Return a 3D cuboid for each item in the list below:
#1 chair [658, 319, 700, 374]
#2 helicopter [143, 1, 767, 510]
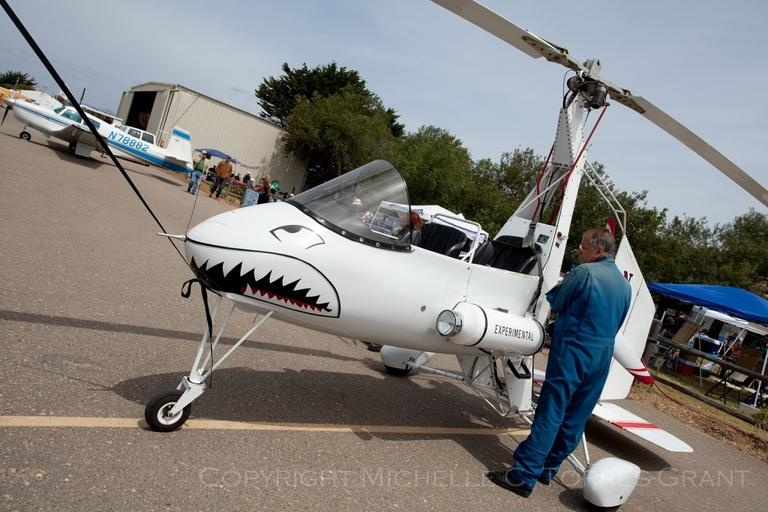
[{"bbox_3d":[8.650,2.738,15.984,1.096,1.592,1.502,0,-5,0],"label":"chair"},{"bbox_3d":[0.923,-0.155,6.719,6.202,4.594,2.319,18,9,-11],"label":"helicopter"}]
